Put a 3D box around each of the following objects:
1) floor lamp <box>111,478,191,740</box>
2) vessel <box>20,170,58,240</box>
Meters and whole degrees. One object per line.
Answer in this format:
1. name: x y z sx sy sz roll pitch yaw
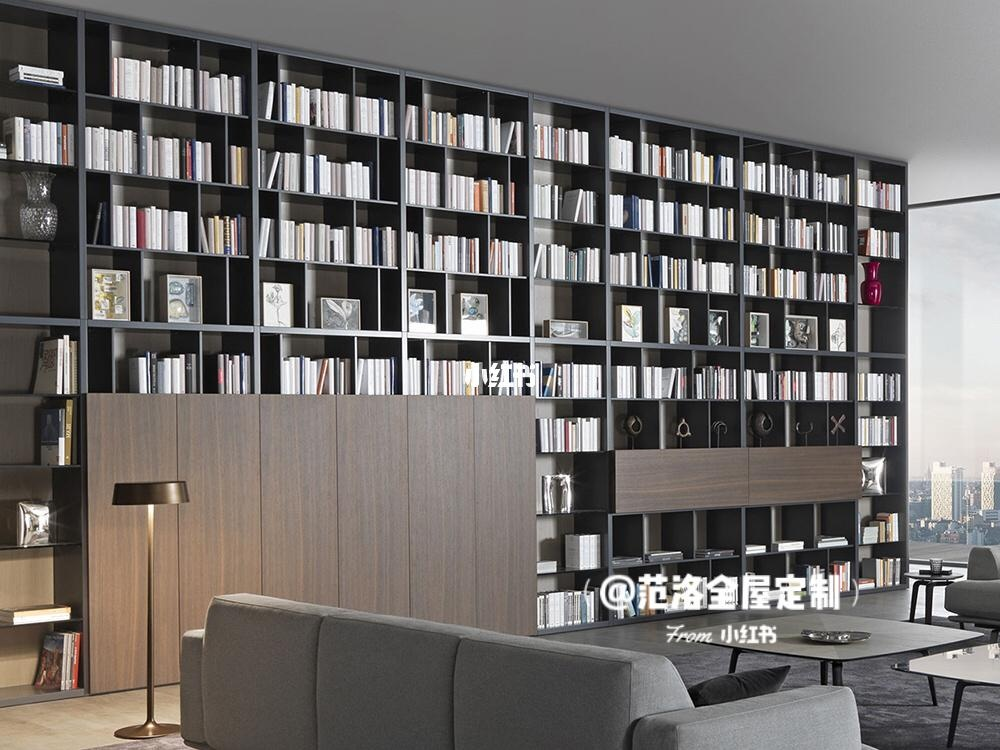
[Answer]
1. floor lamp: -1.954 1.253 5.536 0.365 1.318 0.892 1 -5 -19
2. vessel: -2.839 -1.049 6.120 0.200 0.429 0.119 2 -5 -27
